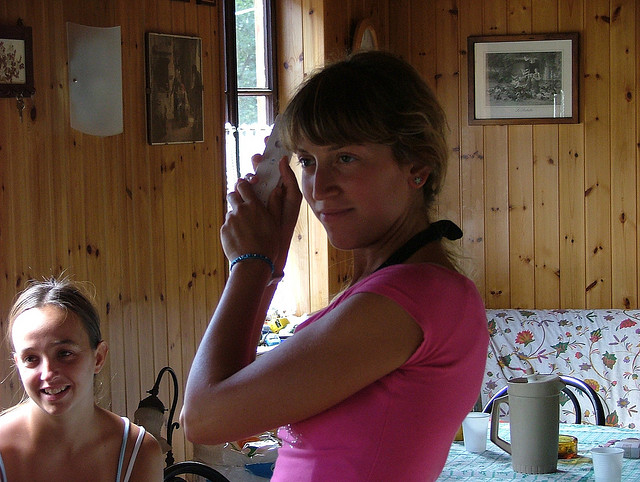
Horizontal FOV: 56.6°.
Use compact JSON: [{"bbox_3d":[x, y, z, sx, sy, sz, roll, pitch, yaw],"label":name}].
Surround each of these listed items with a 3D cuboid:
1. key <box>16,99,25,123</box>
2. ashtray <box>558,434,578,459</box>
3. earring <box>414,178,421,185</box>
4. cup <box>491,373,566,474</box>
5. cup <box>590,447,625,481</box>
[{"bbox_3d":[-1.244,-0.537,2.454,0.031,0.091,0.011,2,3,-38],"label":"key"},{"bbox_3d":[0.786,0.646,1.874,0.057,0.039,0.058,3,-4,-28],"label":"ashtray"},{"bbox_3d":[0.149,-0.092,0.909,0.008,0.009,0.003,-4,-9,0],"label":"earring"},{"bbox_3d":[0.649,0.536,1.848,0.200,0.266,0.483,5,3,23],"label":"cup"},{"bbox_3d":[0.795,0.608,1.663,0.082,0.102,0.091,-1,-11,-6],"label":"cup"}]
